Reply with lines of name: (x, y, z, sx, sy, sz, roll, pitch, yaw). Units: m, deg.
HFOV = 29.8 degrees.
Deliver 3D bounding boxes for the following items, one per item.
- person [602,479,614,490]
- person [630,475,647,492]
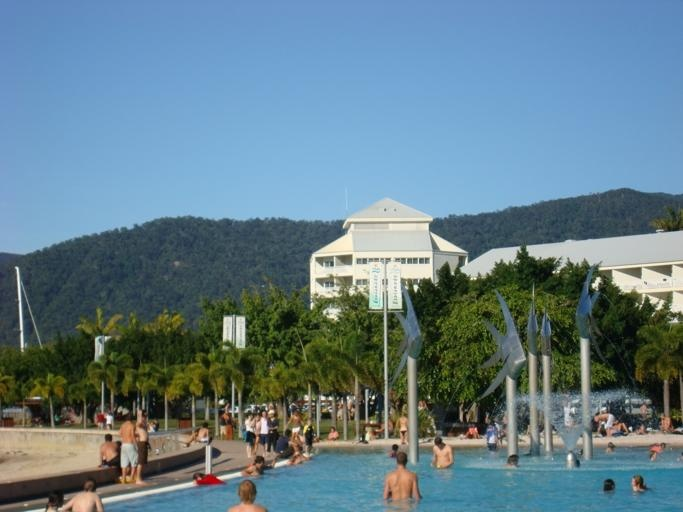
person: (14.544, 12.577, 69.840, 0.602, 0.685, 0.720, -5, -12, 9)
person: (16.200, 12.514, 69.977, 0.823, 1.052, 0.753, 0, 0, -14)
